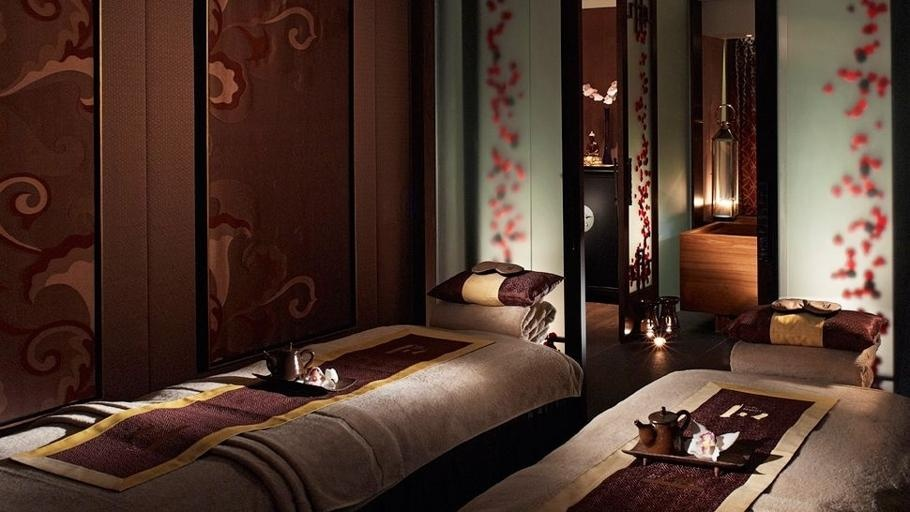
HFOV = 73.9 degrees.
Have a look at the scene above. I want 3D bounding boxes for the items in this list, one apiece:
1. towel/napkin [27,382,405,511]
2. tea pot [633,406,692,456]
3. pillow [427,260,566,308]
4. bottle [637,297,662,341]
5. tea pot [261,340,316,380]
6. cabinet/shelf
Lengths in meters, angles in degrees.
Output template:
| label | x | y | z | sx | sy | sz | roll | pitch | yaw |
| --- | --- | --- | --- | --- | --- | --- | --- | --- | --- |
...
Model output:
| label | x | y | z | sx | sy | sz | roll | pitch | yaw |
| --- | --- | --- | --- | --- | --- | --- | --- | --- | --- |
| towel/napkin | -1.166 | 0.970 | 3.009 | 1.534 | 0.391 | 0.744 | 1 | 9 | -5 |
| tea pot | 0.969 | 0.795 | 2.793 | 0.275 | 0.195 | 0.189 | -11 | 11 | -16 |
| pillow | 0.293 | 0.221 | 4.425 | 0.896 | 0.304 | 0.342 | 5 | 9 | 18 |
| bottle | 1.958 | 0.626 | 5.968 | 0.216 | 0.366 | 0.289 | 7 | 10 | 31 |
| tea pot | -0.959 | 0.616 | 3.517 | 0.299 | 0.225 | 0.227 | 4 | -5 | -44 |
| cabinet/shelf | 1.682 | -0.236 | 6.968 | 0.468 | 1.563 | 0.129 | 10 | 12 | 40 |
